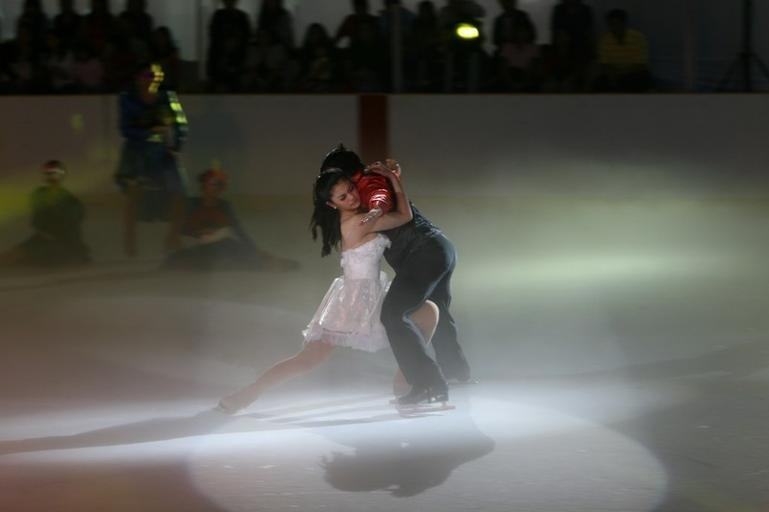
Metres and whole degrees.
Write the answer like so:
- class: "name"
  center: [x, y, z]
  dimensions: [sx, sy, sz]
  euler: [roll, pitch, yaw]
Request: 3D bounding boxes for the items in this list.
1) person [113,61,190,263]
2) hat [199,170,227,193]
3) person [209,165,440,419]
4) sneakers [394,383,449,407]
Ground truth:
- class: "person"
  center: [-1.448, -0.614, 4.905]
  dimensions: [0.415, 1.131, 0.268]
  euler: [-1, 9, -1]
- class: "hat"
  center: [-1.069, -0.466, 4.944]
  dimensions: [0.156, 0.134, 0.066]
  euler: [11, 1, -3]
- class: "person"
  center: [-0.327, 0.166, 3.780]
  dimensions: [1.270, 1.171, 0.401]
  euler: [-5, 2, -29]
- class: "sneakers"
  center: [0.182, 0.673, 3.779]
  dimensions: [0.275, 0.110, 0.098]
  euler: [1, -2, -2]
